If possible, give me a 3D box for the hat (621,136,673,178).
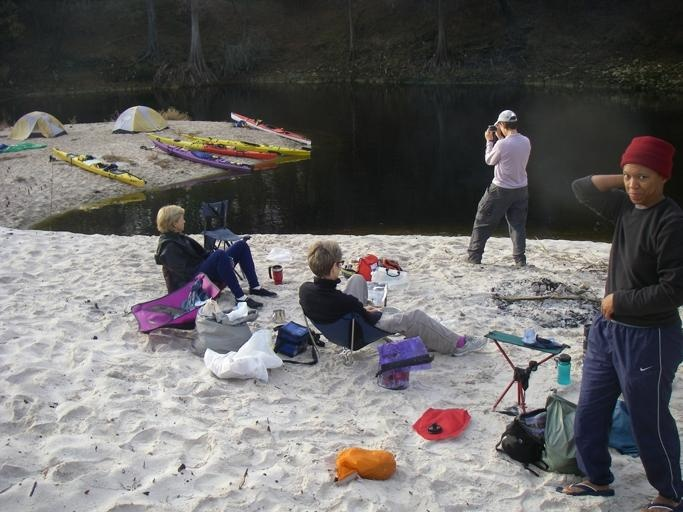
[{"bbox_3d":[2.988,-0.995,7.995,0.450,0.345,0.439,27,3,-7],"label":"hat"}]

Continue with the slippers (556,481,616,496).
[{"bbox_3d":[2.519,2.352,8.303,0.524,0.126,0.210,1,-8,11],"label":"slippers"}]

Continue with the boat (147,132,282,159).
[{"bbox_3d":[-3.660,-3.114,22.883,3.649,0.376,0.505,12,36,3],"label":"boat"}]

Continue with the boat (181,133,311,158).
[{"bbox_3d":[-2.756,-3.152,23.122,3.798,0.401,0.498,10,33,2],"label":"boat"}]

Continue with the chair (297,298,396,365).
[{"bbox_3d":[0.084,0.911,9.910,0.800,0.440,0.673,-4,9,-32],"label":"chair"}]

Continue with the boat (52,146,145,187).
[{"bbox_3d":[-6.070,-2.192,20.049,2.283,0.331,0.529,25,41,28],"label":"boat"}]

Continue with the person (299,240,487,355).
[{"bbox_3d":[0.629,0.616,10.406,2.542,1.498,1.032,1,6,-29],"label":"person"}]

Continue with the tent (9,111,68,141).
[{"bbox_3d":[-8.961,-3.859,23.738,1.536,0.732,1.116,-11,19,-30],"label":"tent"}]

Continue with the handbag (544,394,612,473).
[{"bbox_3d":[2.500,1.864,8.650,0.592,1.070,0.902,9,-9,1],"label":"handbag"}]

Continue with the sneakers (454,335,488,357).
[{"bbox_3d":[1.601,1.123,10.126,0.488,0.207,0.183,-17,25,-10],"label":"sneakers"}]

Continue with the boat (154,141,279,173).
[{"bbox_3d":[-3.429,-2.633,21.683,2.121,0.223,0.361,23,36,16],"label":"boat"}]

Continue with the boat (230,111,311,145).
[{"bbox_3d":[-2.353,-4.187,26.535,0.611,0.529,4.494,-15,33,-36],"label":"boat"}]

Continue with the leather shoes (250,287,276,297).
[{"bbox_3d":[-1.116,0.496,11.440,0.381,0.138,0.139,2,5,3],"label":"leather shoes"}]

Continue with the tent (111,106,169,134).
[{"bbox_3d":[-6.409,-4.192,25.090,1.135,0.510,1.203,13,24,35],"label":"tent"}]

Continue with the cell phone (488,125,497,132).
[{"bbox_3d":[2.316,-1.982,12.418,0.139,0.050,0.135,31,-24,-37],"label":"cell phone"}]

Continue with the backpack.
[{"bbox_3d":[1.967,1.994,8.643,0.600,0.626,0.464,1,-7,33],"label":"backpack"}]

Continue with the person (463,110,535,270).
[{"bbox_3d":[2.453,-1.050,12.492,0.872,2.367,0.693,3,18,12],"label":"person"}]

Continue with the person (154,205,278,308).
[{"bbox_3d":[-1.746,-0.041,11.098,1.686,1.253,0.861,5,14,17],"label":"person"}]

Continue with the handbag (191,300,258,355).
[{"bbox_3d":[-1.423,0.846,10.188,0.618,0.688,0.712,5,21,18],"label":"handbag"}]
